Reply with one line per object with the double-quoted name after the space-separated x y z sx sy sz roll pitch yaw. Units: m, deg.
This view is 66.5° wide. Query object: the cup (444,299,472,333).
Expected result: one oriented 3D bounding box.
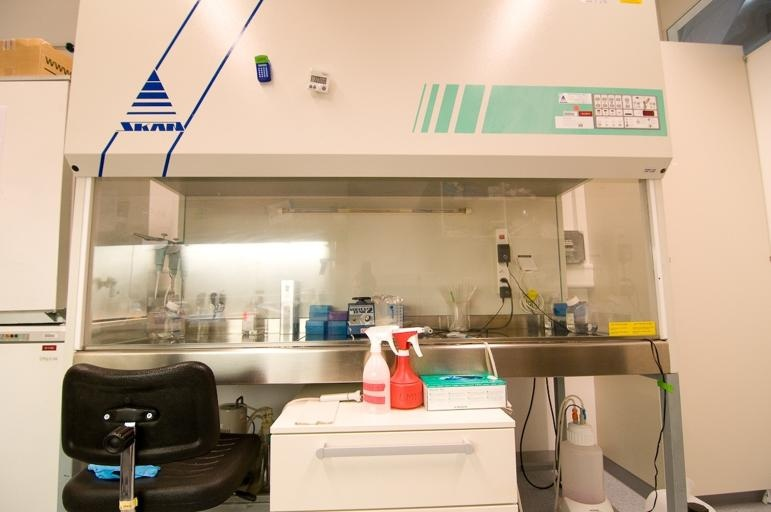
0.451 0.362 3.505 0.174 0.183 0.165 1 -5 0 "cup"
